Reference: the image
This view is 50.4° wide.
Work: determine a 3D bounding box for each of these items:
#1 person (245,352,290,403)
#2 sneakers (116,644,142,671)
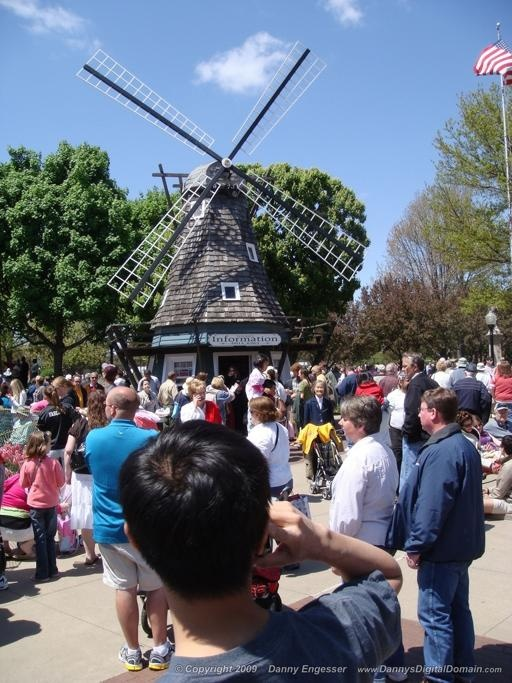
[{"bbox_3d":[0.121,0.749,10.750,0.761,0.884,1.958,-3,-3,4],"label":"person"},{"bbox_3d":[-0.918,2.331,4.001,0.101,0.117,0.260,5,0,-17],"label":"sneakers"}]
